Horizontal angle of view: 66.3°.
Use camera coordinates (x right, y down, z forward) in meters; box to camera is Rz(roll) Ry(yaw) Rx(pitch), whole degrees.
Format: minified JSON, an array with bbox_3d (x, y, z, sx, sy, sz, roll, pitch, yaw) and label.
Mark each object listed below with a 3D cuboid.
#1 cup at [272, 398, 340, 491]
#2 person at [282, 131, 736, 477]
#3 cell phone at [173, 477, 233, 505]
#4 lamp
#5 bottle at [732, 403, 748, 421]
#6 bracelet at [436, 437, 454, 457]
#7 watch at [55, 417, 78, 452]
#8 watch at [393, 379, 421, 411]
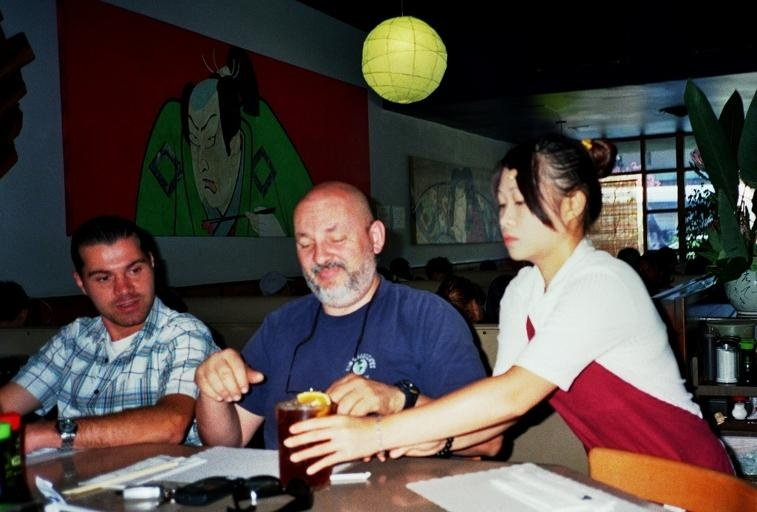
[{"bbox_3d":[-0.191,0.499,1.509,0.187,0.270,0.176,3,2,0],"label":"cup"},{"bbox_3d":[0.430,0.156,1.674,1.192,1.042,0.537,-4,6,-28],"label":"person"},{"bbox_3d":[-0.403,0.538,1.362,0.062,0.021,0.083,0,3,22],"label":"cell phone"},{"bbox_3d":[0.170,-1.554,4.645,0.637,0.631,0.694,-19,-11,33],"label":"lamp"},{"bbox_3d":[1.753,0.765,2.853,0.079,0.075,0.078,1,-6,-4],"label":"bottle"},{"bbox_3d":[0.188,0.563,1.690,0.029,0.060,0.076,22,-39,0],"label":"bracelet"},{"bbox_3d":[-0.952,0.543,1.773,0.055,0.088,0.087,7,4,-38],"label":"watch"},{"bbox_3d":[0.078,0.396,1.666,0.057,0.065,0.056,0,5,18],"label":"watch"}]
